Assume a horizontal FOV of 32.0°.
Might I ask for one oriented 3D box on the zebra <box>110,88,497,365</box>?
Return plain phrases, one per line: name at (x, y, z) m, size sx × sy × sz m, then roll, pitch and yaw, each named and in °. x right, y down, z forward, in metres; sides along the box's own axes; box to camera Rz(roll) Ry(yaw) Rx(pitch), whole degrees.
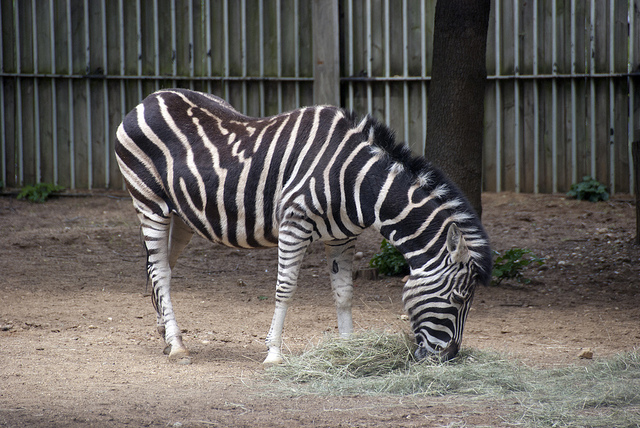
zebra at (-0.424, 0.300, 14.510) m, size 5.431 × 3.559 × 1.883 m, roll 5°, pitch 4°, yaw 24°
